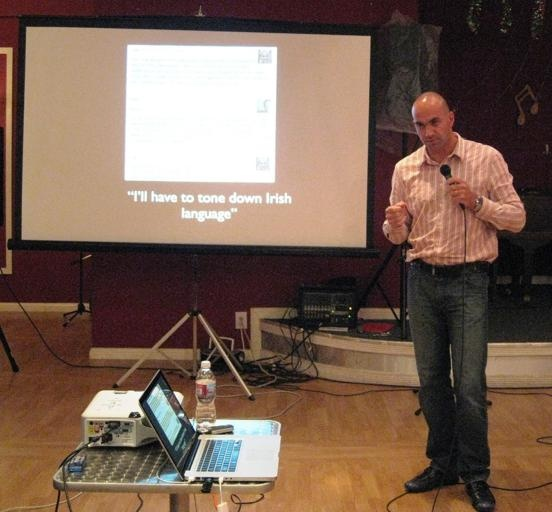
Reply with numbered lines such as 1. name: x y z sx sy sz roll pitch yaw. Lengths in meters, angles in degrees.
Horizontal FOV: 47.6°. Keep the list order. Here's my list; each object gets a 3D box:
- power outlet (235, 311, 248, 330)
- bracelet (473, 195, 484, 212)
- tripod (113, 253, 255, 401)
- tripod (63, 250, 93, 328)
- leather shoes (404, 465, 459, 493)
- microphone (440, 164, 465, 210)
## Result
1. power outlet: -0.256 0.466 4.569 0.102 0.170 0.015 0 -3 -5
2. bracelet: 0.851 -0.219 2.628 0.042 0.054 0.049 -8 0 3
3. tripod: -0.574 0.550 4.133 0.749 0.997 0.569 5 8 9
4. tripod: -1.978 0.318 6.210 0.157 0.689 0.201 -1 9 -11
5. leather shoes: 0.699 1.026 2.852 0.230 0.107 0.103 1 1 -8
6. microphone: 0.760 -0.298 2.693 0.106 0.191 0.117 2 9 16
